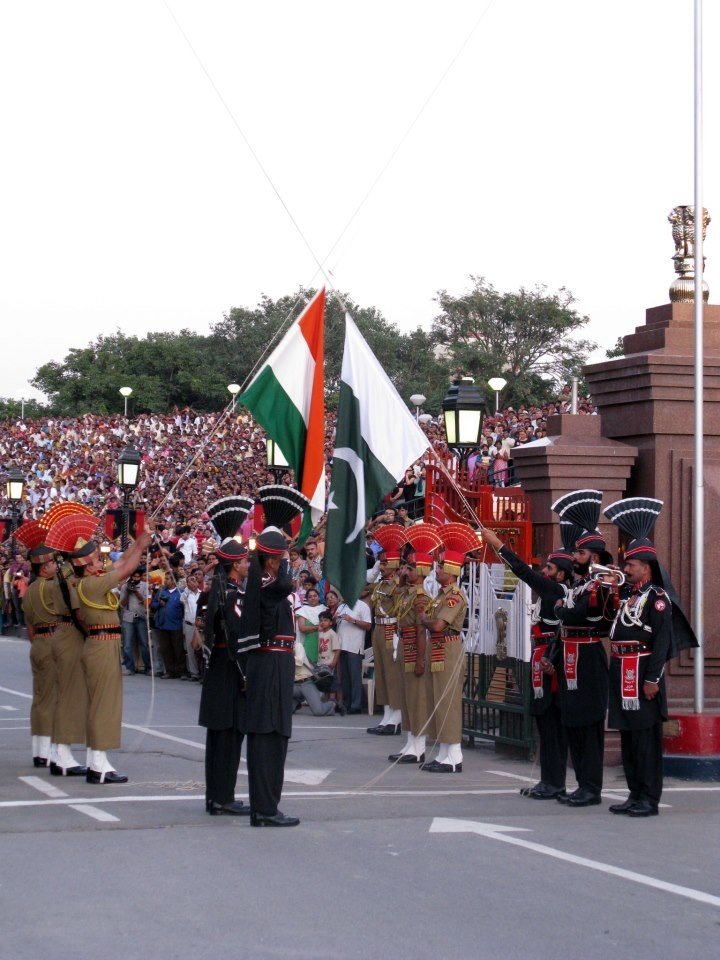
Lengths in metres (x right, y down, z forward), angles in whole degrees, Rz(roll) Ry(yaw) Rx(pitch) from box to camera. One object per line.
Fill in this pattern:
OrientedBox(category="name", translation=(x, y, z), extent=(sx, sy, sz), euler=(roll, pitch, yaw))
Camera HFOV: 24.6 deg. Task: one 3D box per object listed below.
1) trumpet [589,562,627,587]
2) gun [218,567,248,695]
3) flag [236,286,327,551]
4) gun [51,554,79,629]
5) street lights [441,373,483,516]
OrientedBox(category="trumpet", translation=(1.587, 0.599, 10.494), extent=(0.180, 0.065, 0.136), euler=(9, 0, 3))
OrientedBox(category="gun", translation=(-0.825, 0.929, 10.198), extent=(0.217, 0.817, 0.537), euler=(1, -4, -5))
OrientedBox(category="flag", translation=(-0.618, -0.613, 13.940), extent=(0.661, 2.019, 1.088), euler=(1, -4, -1))
OrientedBox(category="gun", translation=(-2.192, 0.848, 12.237), extent=(0.082, 0.581, 0.183), euler=(-11, 13, -10))
OrientedBox(category="street lights", translation=(0.883, -0.378, 13.662), extent=(0.184, 0.986, 0.232), euler=(-3, 2, -35))
